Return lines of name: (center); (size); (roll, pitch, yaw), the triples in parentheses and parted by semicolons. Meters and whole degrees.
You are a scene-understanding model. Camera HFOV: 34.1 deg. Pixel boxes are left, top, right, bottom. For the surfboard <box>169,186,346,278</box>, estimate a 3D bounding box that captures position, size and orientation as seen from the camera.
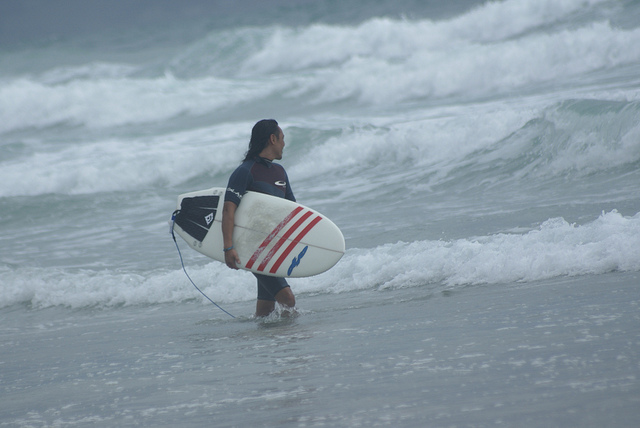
surfboard: (-1.163, 0.288, 19.123); (0.490, 4.134, 1.400); (22, 90, 42)
